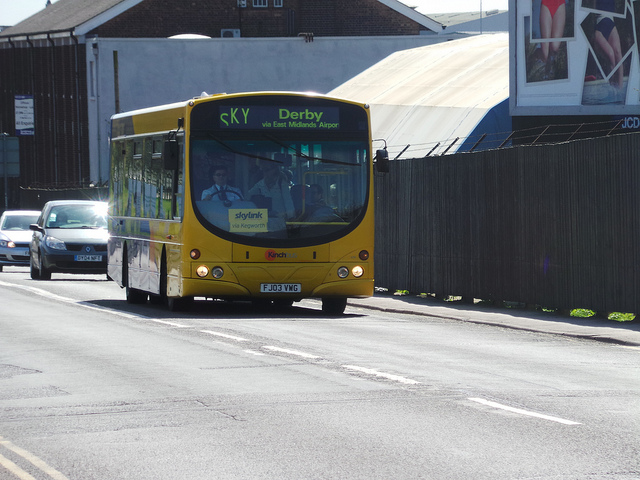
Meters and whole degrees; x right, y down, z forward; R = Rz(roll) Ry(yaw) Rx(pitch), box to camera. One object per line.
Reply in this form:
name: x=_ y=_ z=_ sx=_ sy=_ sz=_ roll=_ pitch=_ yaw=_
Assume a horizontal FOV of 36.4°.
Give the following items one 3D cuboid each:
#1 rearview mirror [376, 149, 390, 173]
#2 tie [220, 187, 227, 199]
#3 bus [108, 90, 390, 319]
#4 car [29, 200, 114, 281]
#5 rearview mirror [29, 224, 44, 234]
rearview mirror: x=1.131 y=-1.451 z=17.700 sx=0.208 sy=0.385 sz=0.416 roll=1 pitch=0 yaw=3
tie: x=-1.618 y=-0.795 z=16.596 sx=0.037 sy=0.238 sz=0.031 roll=-7 pitch=20 yaw=36
bus: x=-2.105 y=-0.778 z=20.783 sx=3.494 sy=4.131 sz=8.863 roll=1 pitch=1 yaw=-20
car: x=-6.920 y=-0.007 z=27.216 sx=1.955 sy=2.287 sz=2.888 roll=1 pitch=0 yaw=-34
rearview mirror: x=-7.894 y=-0.310 z=27.336 sx=0.368 sy=0.228 sz=0.547 roll=1 pitch=0 yaw=-18
